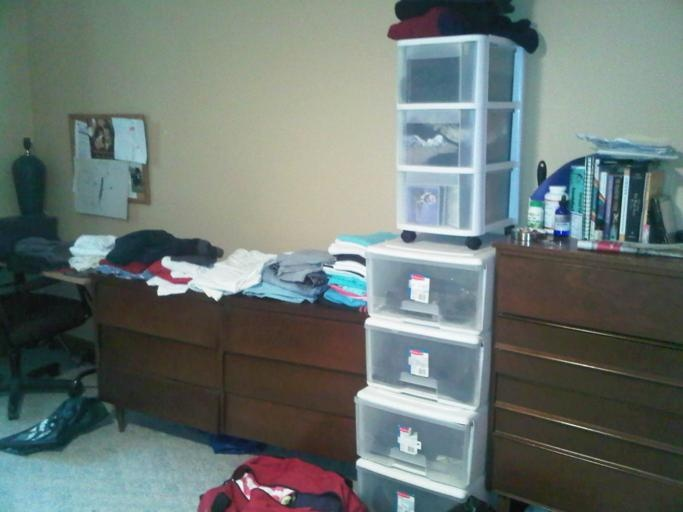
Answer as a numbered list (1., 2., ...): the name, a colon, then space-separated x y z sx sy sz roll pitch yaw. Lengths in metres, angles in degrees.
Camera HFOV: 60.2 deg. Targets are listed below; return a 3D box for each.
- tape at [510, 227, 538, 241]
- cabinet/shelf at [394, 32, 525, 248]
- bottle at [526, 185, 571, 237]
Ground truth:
1. tape: 0.750 -0.097 2.385 0.056 0.028 0.070 -8 16 -41
2. cabinet/shelf: 0.529 -0.486 2.483 0.592 0.849 0.370 -1 12 -4
3. bottle: 0.851 -0.196 2.439 0.219 0.231 0.128 1 8 25
